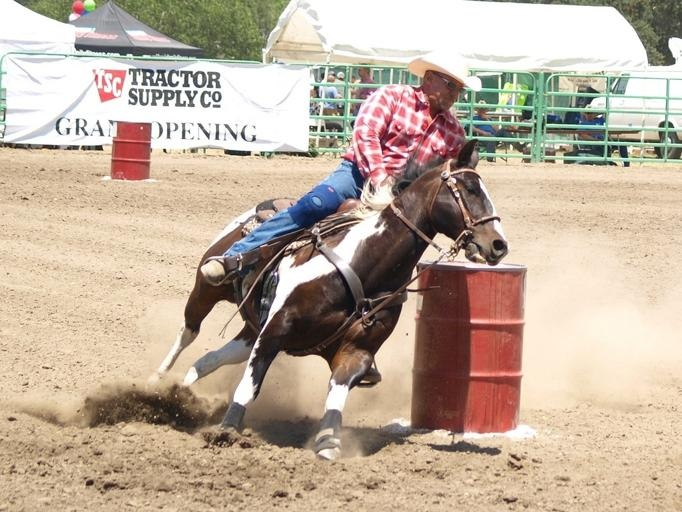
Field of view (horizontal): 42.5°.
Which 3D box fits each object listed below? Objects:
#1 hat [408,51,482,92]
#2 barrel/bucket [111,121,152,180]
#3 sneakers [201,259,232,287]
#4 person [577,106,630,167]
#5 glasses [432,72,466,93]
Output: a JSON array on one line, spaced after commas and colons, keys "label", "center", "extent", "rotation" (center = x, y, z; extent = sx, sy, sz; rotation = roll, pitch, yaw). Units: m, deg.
[{"label": "hat", "center": [0.872, -1.649, 7.315], "extent": [0.483, 0.173, 0.421], "rotation": [19, -10, 19]}, {"label": "barrel/bucket", "center": [-3.891, -1.980, 16.429], "extent": [0.796, 1.012, 0.734], "rotation": [3, 5, 0]}, {"label": "sneakers", "center": [-1.045, 0.131, 7.380], "extent": [0.195, 0.196, 0.238], "rotation": [24, 20, -31]}, {"label": "person", "center": [5.943, -2.864, 20.419], "extent": [1.113, 1.401, 2.406], "rotation": [7, 9, 30]}, {"label": "glasses", "center": [0.924, -1.451, 7.287], "extent": [0.322, 0.165, 0.158], "rotation": [-2, 9, -28]}]
